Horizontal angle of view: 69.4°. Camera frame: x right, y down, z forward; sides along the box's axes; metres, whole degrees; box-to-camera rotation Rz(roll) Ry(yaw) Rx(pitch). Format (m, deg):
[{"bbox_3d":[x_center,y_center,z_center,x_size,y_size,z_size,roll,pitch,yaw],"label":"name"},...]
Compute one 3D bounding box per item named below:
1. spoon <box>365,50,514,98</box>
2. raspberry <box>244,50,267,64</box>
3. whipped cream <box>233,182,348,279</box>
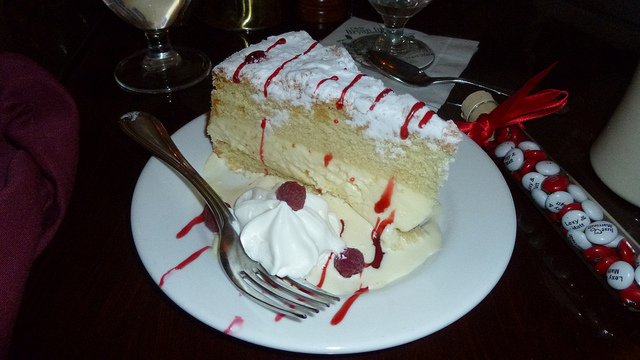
[{"bbox_3d":[0.764,-0.678,3.003,0.912,0.124,0.164,21,71,13],"label":"spoon"},{"bbox_3d":[-0.362,-0.687,2.581,0.090,0.018,0.065,-14,61,-5],"label":"raspberry"},{"bbox_3d":[-0.187,0.282,2.388,0.506,0.179,0.471,36,57,1],"label":"whipped cream"}]
